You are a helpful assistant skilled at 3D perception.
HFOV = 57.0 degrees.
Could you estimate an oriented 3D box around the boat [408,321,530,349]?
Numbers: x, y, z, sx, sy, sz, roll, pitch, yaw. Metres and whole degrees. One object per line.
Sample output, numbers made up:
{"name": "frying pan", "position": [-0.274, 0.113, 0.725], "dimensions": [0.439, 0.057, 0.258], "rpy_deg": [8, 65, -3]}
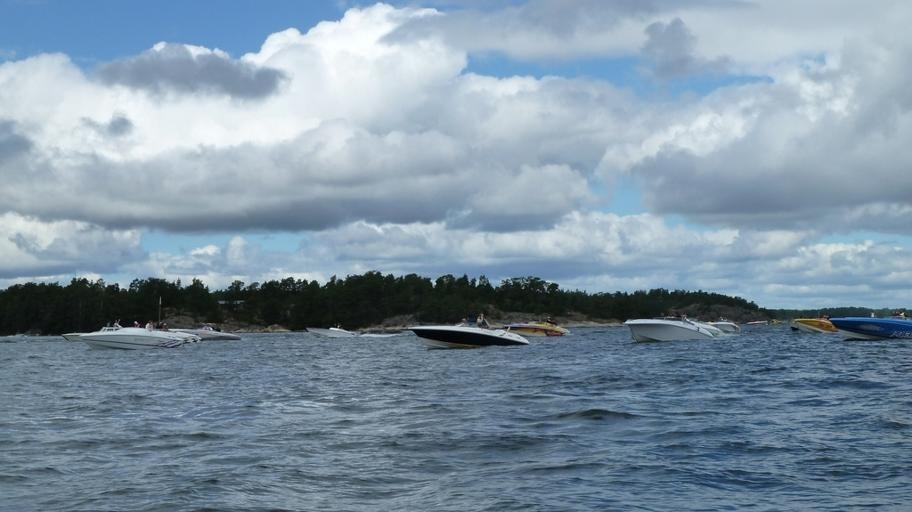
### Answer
{"name": "boat", "position": [1.000, 5.977, 65.332], "dimensions": [8.846, 1.735, 2.677], "rpy_deg": [5, -9, -13]}

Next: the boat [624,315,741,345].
{"name": "boat", "position": [17.802, 5.737, 67.163], "dimensions": [3.466, 2.125, 9.418], "rpy_deg": [-1, -2, 44]}
